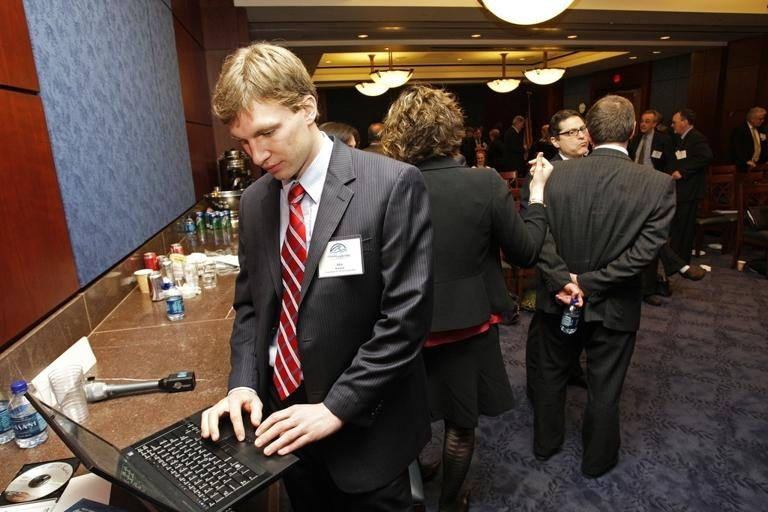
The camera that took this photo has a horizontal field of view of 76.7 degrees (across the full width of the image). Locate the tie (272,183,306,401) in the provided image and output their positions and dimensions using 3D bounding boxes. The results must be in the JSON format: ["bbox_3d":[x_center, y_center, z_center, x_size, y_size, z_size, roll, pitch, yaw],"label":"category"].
[{"bbox_3d":[-0.302,0.116,1.598,0.115,0.690,0.046,6,8,29],"label":"tie"}]

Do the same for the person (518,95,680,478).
[{"bbox_3d":[1.259,0.176,2.805,0.671,2.051,0.904,13,22,36],"label":"person"}]

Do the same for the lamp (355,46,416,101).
[{"bbox_3d":[0.023,-3.293,9.013,1.149,1.068,1.566,3,14,1],"label":"lamp"}]

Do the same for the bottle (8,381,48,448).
[{"bbox_3d":[-1.214,0.546,1.644,0.128,0.231,0.101,15,16,30],"label":"bottle"}]
